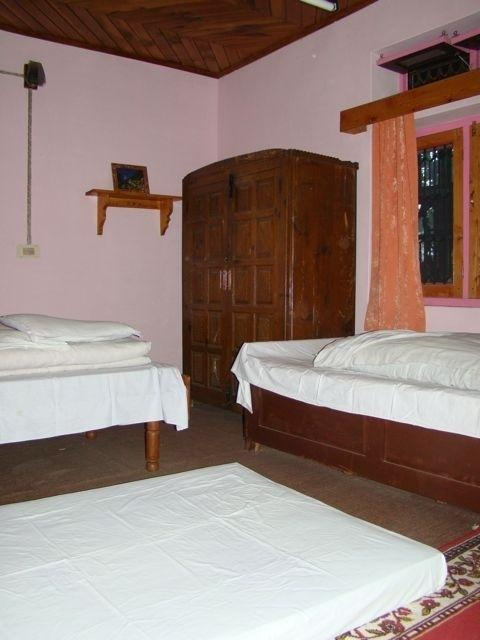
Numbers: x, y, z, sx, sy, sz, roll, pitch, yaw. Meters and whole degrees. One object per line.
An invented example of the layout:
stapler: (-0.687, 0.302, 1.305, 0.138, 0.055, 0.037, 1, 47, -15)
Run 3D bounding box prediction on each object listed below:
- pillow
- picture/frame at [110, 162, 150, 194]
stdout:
pillow: (-0.847, 0.047, 2.516, 0.639, 0.127, 0.386, 1, 1, -10)
picture/frame: (-0.958, -1.211, 4.352, 0.345, 0.280, 0.028, 6, -20, -37)
